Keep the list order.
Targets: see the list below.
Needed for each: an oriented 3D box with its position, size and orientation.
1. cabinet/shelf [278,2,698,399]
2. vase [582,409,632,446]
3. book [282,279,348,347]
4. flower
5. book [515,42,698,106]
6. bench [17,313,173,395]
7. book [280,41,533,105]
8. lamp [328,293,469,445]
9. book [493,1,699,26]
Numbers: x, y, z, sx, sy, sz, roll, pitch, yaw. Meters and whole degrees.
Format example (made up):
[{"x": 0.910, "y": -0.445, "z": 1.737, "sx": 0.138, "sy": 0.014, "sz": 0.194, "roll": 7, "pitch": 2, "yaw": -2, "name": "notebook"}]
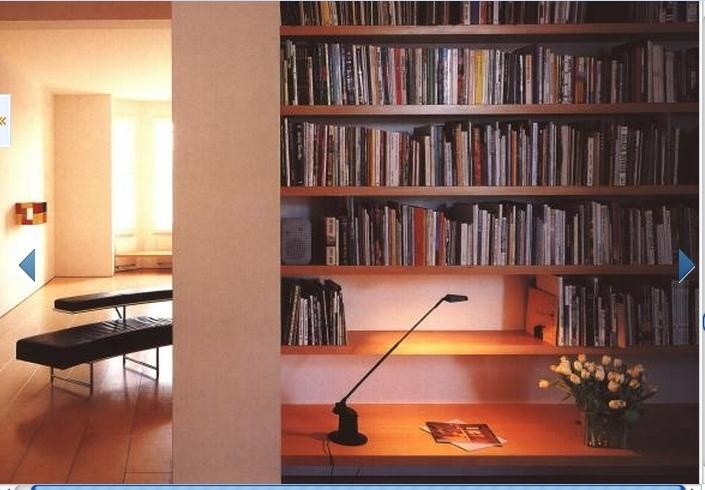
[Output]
[{"x": 0.722, "y": -0.318, "z": 3.458, "sx": 2.387, "sy": 1.984, "sz": 0.690, "roll": 0, "pitch": 4, "yaw": 3, "name": "cabinet/shelf"}, {"x": 1.309, "y": 0.962, "z": 3.378, "sx": 0.245, "sy": 0.213, "sz": 0.171, "roll": 0, "pitch": -6, "yaw": 3, "name": "vase"}, {"x": -0.175, "y": 0.345, "z": 3.594, "sx": 0.336, "sy": 0.396, "sz": 0.423, "roll": -1, "pitch": -3, "yaw": 8, "name": "book"}, {"x": 1.339, "y": 0.783, "z": 3.580, "sx": 0.552, "sy": 0.473, "sz": 0.533, "roll": 0, "pitch": -1, "yaw": 6, "name": "flower"}, {"x": 1.357, "y": -0.918, "z": 3.464, "sx": 0.948, "sy": 0.317, "sz": 0.168, "roll": 0, "pitch": 12, "yaw": 2, "name": "book"}, {"x": -1.712, "y": 0.660, "z": 4.390, "sx": 0.981, "sy": 0.170, "sz": 0.441, "roll": -9, "pitch": 14, "yaw": -38, "name": "bench"}, {"x": 0.263, "y": -0.900, "z": 3.402, "sx": 1.265, "sy": 0.311, "sz": 0.060, "roll": -1, "pitch": 12, "yaw": -2, "name": "book"}, {"x": 0.212, "y": 0.612, "z": 3.487, "sx": 0.714, "sy": 0.769, "sz": 0.494, "roll": -1, "pitch": 12, "yaw": -3, "name": "lamp"}, {"x": 1.271, "y": -1.231, "z": 3.408, "sx": 1.111, "sy": 0.127, "sz": 0.195, "roll": -2, "pitch": 12, "yaw": -8, "name": "book"}]
